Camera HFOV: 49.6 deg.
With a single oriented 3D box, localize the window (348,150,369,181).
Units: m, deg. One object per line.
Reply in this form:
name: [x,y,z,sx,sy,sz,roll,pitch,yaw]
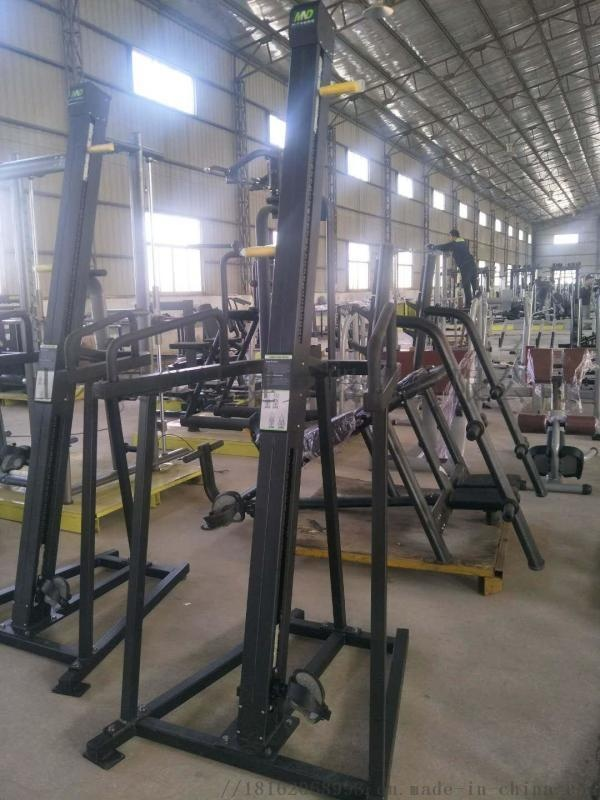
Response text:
window: [1.376,-5.575,15.425,0.019,0.538,0.933,2,11,24]
